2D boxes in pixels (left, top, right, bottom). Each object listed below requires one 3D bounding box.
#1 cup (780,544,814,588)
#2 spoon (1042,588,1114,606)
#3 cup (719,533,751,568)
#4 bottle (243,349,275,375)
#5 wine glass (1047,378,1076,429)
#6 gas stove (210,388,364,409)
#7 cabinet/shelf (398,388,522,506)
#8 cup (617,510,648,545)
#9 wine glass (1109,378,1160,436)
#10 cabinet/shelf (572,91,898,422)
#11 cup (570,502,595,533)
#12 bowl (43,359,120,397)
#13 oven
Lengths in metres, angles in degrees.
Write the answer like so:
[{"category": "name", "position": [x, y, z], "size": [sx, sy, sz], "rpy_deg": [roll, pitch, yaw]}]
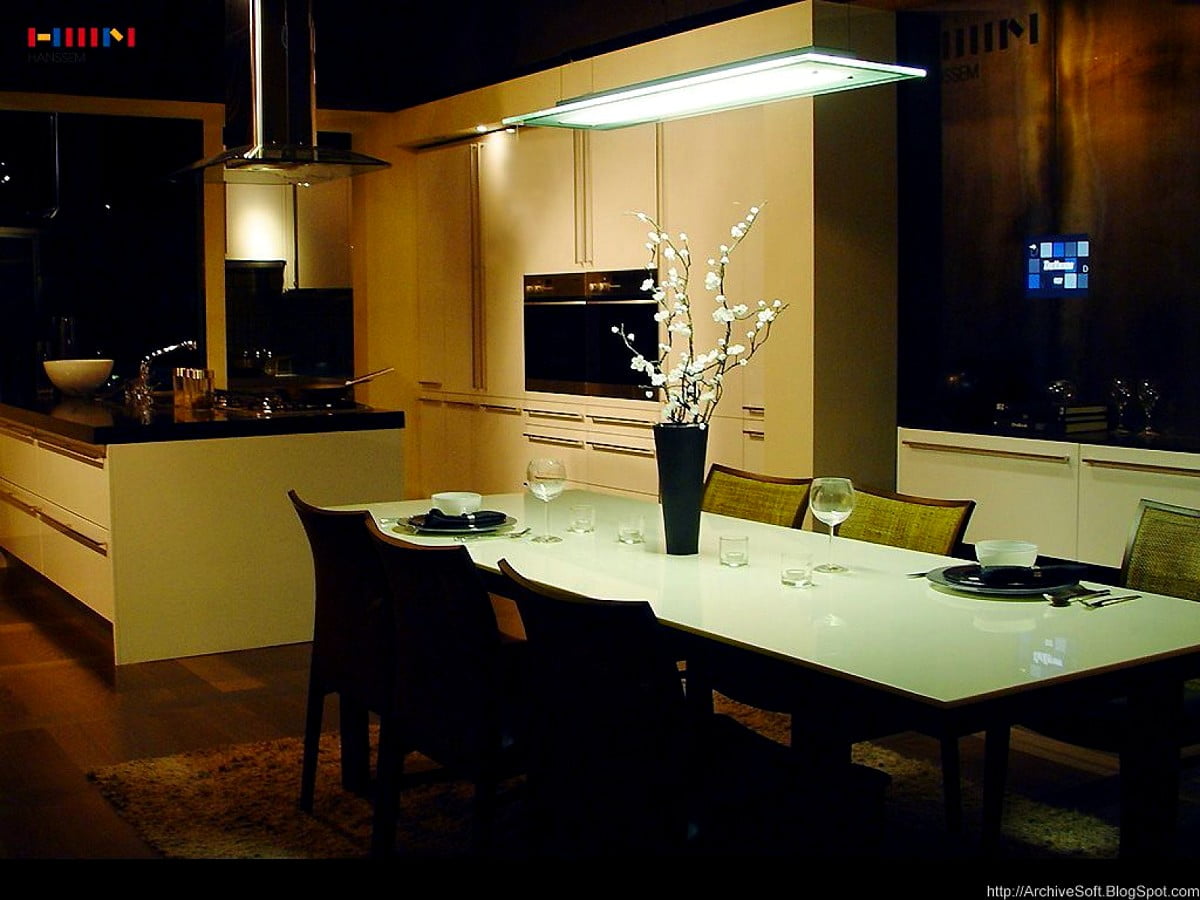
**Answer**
[{"category": "cup", "position": [0.487, 0.291, 2.458], "size": [0.074, 0.085, 0.075], "rpy_deg": [0, 7, 0]}, {"category": "spoon", "position": [1.072, 0.329, 2.240], "size": [0.216, 0.027, 0.055], "rpy_deg": [-3, 5, -39]}, {"category": "cup", "position": [0.355, 0.270, 2.612], "size": [0.076, 0.057, 0.067], "rpy_deg": [1, 3, 4]}, {"category": "bottle", "position": [-2.455, -0.632, 7.075], "size": [0.175, 0.172, 0.095], "rpy_deg": [1, -7, 0]}, {"category": "wine glass", "position": [1.902, -0.207, 4.110], "size": [0.107, 0.162, 0.356], "rpy_deg": [3, 9, 25]}, {"category": "gas stove", "position": [-1.620, -0.267, 5.040], "size": [0.750, 0.093, 0.518], "rpy_deg": [-2, 8, -10]}, {"category": "cabinet/shelf", "position": [-0.829, -0.043, 6.024], "size": [0.243, 0.696, 0.749], "rpy_deg": [0, 1, -41]}, {"category": "cup", "position": [0.092, 0.237, 2.974], "size": [0.075, 0.074, 0.065], "rpy_deg": [1, 4, 3]}, {"category": "wine glass", "position": [2.139, -0.167, 3.957], "size": [0.071, 0.199, 0.210], "rpy_deg": [-6, 8, -32]}, {"category": "cabinet/shelf", "position": [0.655, -0.866, 4.358], "size": [0.555, 1.745, 1.739], "rpy_deg": [-2, 3, -43]}, {"category": "cup", "position": [-0.058, 0.220, 3.141], "size": [0.067, 0.074, 0.065], "rpy_deg": [1, 6, 0]}, {"category": "bowl", "position": [-2.970, -0.421, 5.591], "size": [0.254, 0.134, 0.256], "rpy_deg": [-1, 1, 0]}, {"category": "oven", "position": [0.024, -0.617, 5.567], "size": [0.988, 0.737, 0.346], "rpy_deg": [6, 8, 42]}]
